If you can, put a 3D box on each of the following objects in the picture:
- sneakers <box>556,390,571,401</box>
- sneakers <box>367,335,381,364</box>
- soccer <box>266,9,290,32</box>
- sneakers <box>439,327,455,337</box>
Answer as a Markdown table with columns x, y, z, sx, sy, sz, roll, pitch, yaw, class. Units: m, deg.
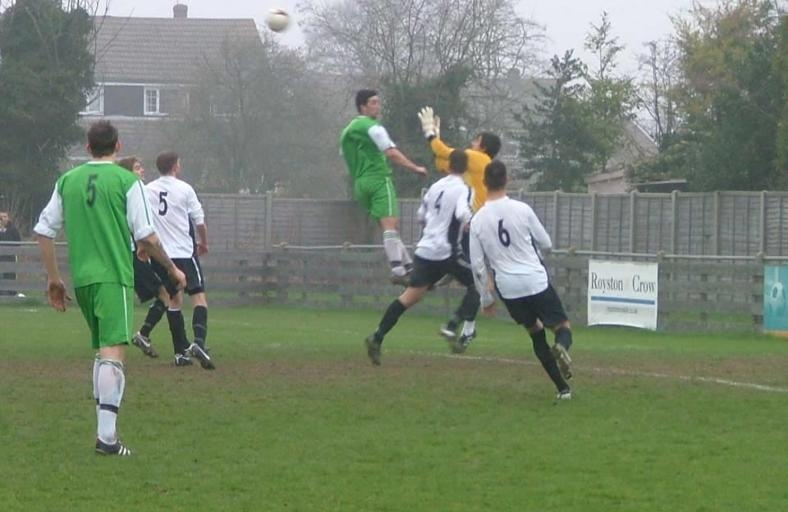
| x | y | z | sx | sy | sz | roll | pitch | yaw | class |
| --- | --- | --- | --- | --- | --- | --- | --- | --- | --- |
| 3.222 | 2.699 | 26.985 | 0.259 | 0.158 | 0.154 | -13 | -39 | 22 | sneakers |
| -0.423 | 1.896 | 28.337 | 0.291 | 0.607 | 0.218 | -14 | -1 | -13 | sneakers |
| -2.671 | -5.492 | 32.979 | 0.515 | 0.586 | 0.804 | -1 | 2 | -31 | soccer |
| 1.068 | 1.558 | 28.695 | 0.319 | 0.128 | 0.144 | 18 | -16 | 20 | sneakers |
